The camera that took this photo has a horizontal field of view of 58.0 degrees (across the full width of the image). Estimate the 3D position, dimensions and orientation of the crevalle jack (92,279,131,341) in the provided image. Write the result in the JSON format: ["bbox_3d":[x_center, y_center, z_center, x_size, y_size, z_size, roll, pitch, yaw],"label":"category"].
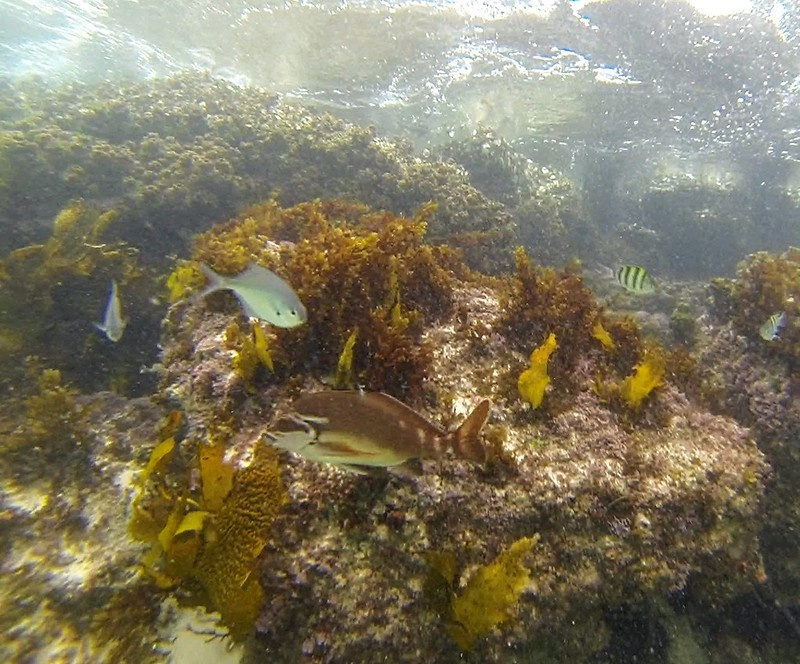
[{"bbox_3d":[-5.592,-0.314,14.033,0.522,0.285,1.323,11,77,-48],"label":"crevalle jack"}]
